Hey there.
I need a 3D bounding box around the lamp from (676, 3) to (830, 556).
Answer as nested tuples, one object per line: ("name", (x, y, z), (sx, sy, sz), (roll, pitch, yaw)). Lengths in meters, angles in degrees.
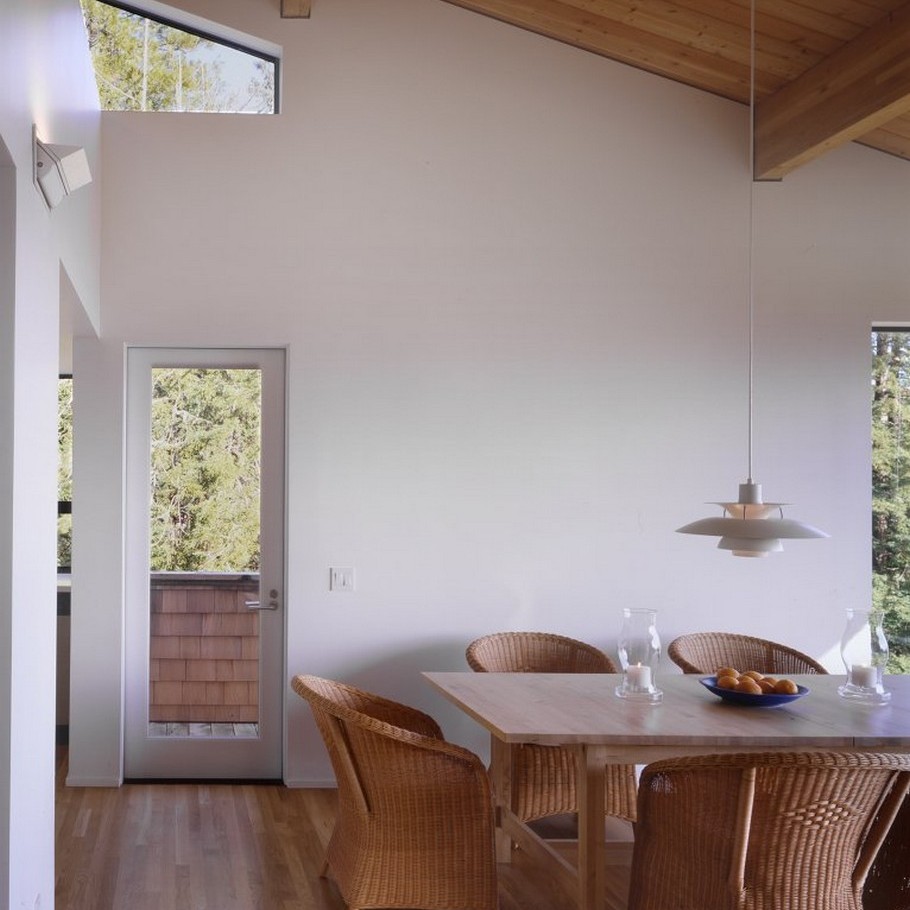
("lamp", (1.225, -0.715, 3.754), (0.519, 1.922, 1.847), (2, 0, 17))
